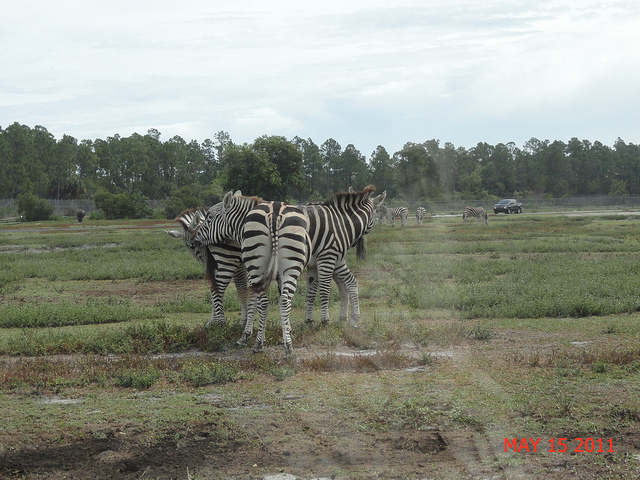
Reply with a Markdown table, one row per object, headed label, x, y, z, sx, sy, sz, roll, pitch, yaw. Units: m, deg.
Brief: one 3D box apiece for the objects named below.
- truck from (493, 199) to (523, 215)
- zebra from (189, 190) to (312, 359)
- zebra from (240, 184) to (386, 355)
| label | x | y | z | sx | sy | sz | roll | pitch | yaw |
| --- | --- | --- | --- | --- | --- | --- | --- | --- | --- |
| truck | 16.822 | -3.012 | 74.641 | 1.413 | 0.936 | 2.507 | -2 | -3 | 36 |
| zebra | -1.658 | 0.574 | 20.281 | 1.562 | 3.686 | 5.492 | 4 | 0 | -20 |
| zebra | -0.111 | 0.629 | 20.340 | 1.559 | 3.744 | 5.653 | 4 | 5 | 28 |
